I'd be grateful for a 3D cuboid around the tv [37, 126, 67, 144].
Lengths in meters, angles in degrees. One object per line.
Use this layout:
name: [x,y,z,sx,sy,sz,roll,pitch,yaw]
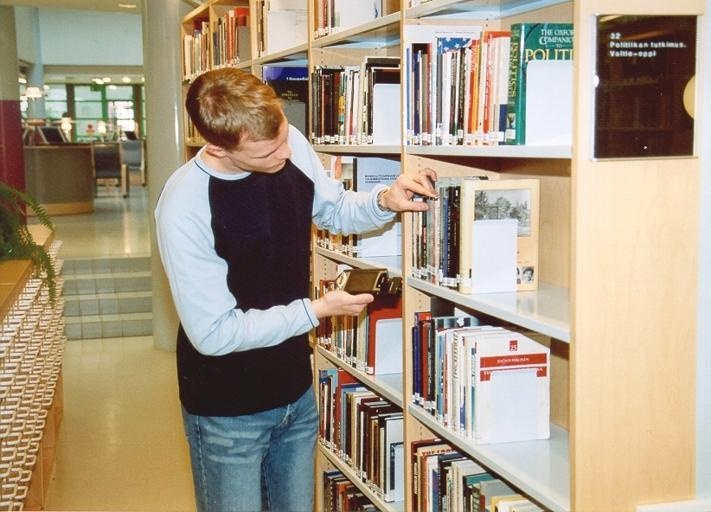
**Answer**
tv: [-5.570,-2.191,12.401,0.523,0.143,0.534,-7,-23,-20]
